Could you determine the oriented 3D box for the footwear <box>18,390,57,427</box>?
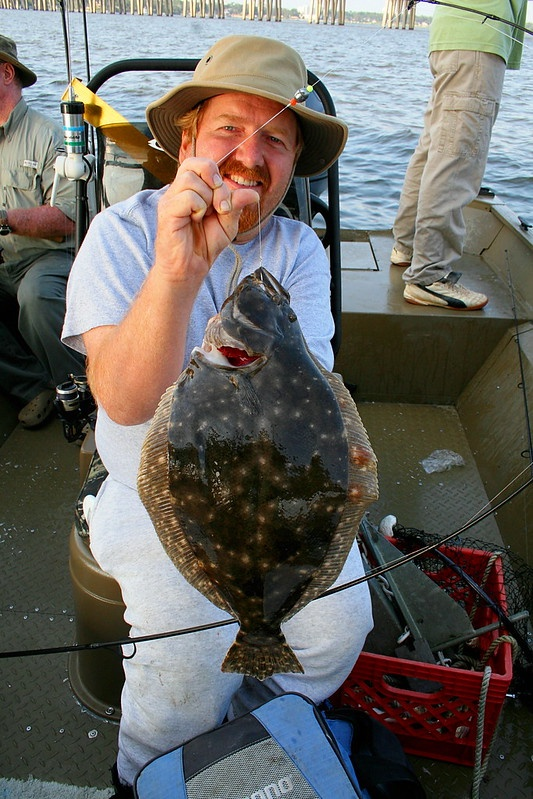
[{"bbox_3d":[-1.149,0.055,3.614,0.139,0.069,0.210,24,63,15],"label":"footwear"}]

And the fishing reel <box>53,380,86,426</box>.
[{"bbox_3d":[-0.862,0.015,3.107,0.128,0.161,0.149,26,41,18],"label":"fishing reel"}]

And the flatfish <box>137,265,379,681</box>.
[{"bbox_3d":[-0.042,0.123,1.439,0.351,0.656,0.366,-23,44,-33],"label":"flatfish"}]

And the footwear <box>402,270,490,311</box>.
[{"bbox_3d":[0.930,-0.571,3.691,0.495,0.196,0.168,3,23,12],"label":"footwear"}]
